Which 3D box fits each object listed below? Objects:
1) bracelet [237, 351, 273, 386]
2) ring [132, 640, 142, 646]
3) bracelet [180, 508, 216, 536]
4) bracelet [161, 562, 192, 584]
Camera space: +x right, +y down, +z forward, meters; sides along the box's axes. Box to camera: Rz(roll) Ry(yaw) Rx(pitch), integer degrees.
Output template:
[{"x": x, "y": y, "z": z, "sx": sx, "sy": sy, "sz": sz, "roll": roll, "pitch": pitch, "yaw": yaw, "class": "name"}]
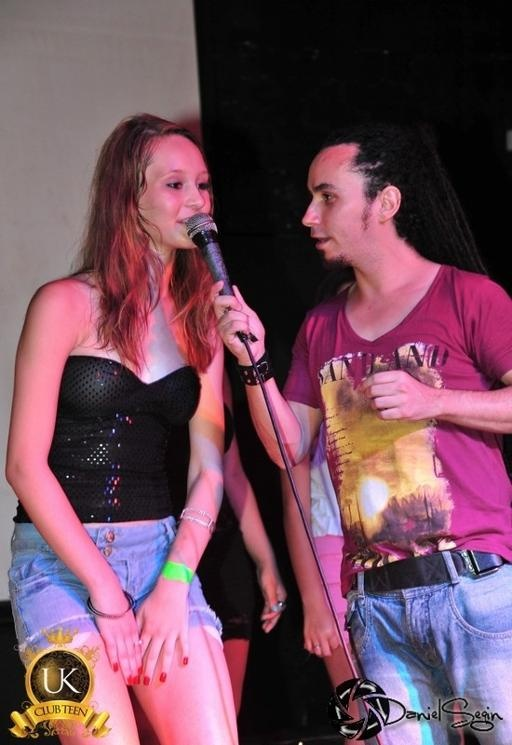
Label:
[{"x": -0.010, "y": -0.006, "z": 1.579, "sx": 0.074, "sy": 0.052, "sz": 0.070, "roll": -24, "pitch": 11, "yaw": -31, "class": "bracelet"}, {"x": -0.225, "y": 0.510, "z": 1.380, "sx": 0.013, "sy": 0.010, "sz": 0.003, "roll": -46, "pitch": 10, "yaw": 11, "class": "ring"}, {"x": -0.120, "y": 0.320, "z": 1.595, "sx": 0.018, "sy": 0.065, "sz": 0.061, "roll": -66, "pitch": 15, "yaw": -8, "class": "bracelet"}, {"x": -0.161, "y": 0.405, "z": 1.472, "sx": 0.061, "sy": 0.046, "sz": 0.036, "roll": -17, "pitch": 6, "yaw": -10, "class": "bracelet"}]
